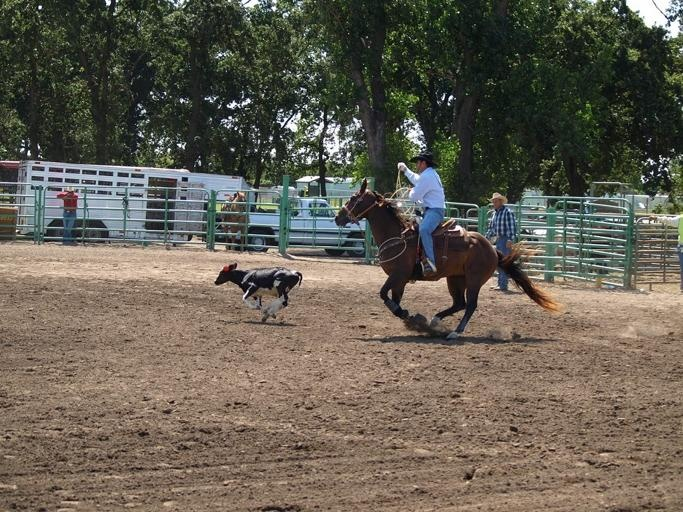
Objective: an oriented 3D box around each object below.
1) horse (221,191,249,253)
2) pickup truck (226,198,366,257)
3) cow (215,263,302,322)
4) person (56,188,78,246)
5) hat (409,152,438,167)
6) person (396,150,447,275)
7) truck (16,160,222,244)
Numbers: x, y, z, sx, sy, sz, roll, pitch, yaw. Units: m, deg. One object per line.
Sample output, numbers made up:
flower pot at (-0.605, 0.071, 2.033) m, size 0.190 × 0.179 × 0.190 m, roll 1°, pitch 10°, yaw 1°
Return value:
horse at (-3.117, -1.056, 30.845) m, size 0.589 × 1.479 × 2.028 m, roll -5°, pitch 9°, yaw -24°
pickup truck at (-1.127, -0.923, 31.147) m, size 3.464 × 1.409 × 1.643 m, roll -1°, pitch 0°, yaw -7°
cow at (-1.444, 0.680, 18.656) m, size 0.769 × 0.976 × 1.407 m, roll 0°, pitch 0°, yaw -40°
person at (-8.321, -1.201, 30.793) m, size 0.583 × 1.485 × 1.316 m, roll 1°, pitch 0°, yaw -15°
hat at (1.521, -1.798, 18.217) m, size 0.354 × 0.138 × 0.293 m, roll 17°, pitch -7°, yaw -7°
person at (1.470, -0.772, 18.159) m, size 0.717 × 2.124 × 0.590 m, roll 1°, pitch 0°, yaw 12°
truck at (-7.290, -1.713, 32.174) m, size 5.794 × 2.265 × 3.121 m, roll 0°, pitch 0°, yaw -18°
